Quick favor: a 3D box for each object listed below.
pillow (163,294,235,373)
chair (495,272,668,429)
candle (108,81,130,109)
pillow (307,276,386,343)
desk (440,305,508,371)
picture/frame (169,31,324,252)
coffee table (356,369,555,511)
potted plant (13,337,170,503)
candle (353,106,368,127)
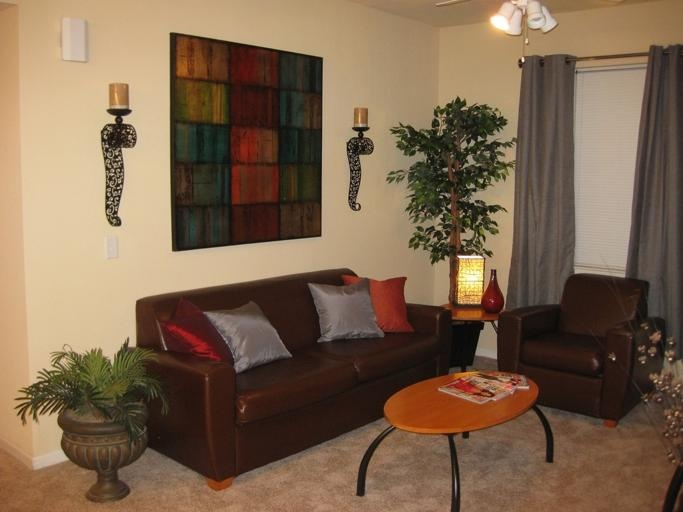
[{"bbox_3d":[-0.923,0.543,3.602,0.374,0.324,0.325,7,12,34],"label":"pillow"},{"bbox_3d":[1.899,0.682,4.500,0.994,0.939,1.014,-10,14,-44],"label":"chair"},{"bbox_3d":[-1.390,-1.013,3.520,0.141,0.175,0.144,-2,11,-17],"label":"candle"},{"bbox_3d":[0.027,0.408,4.534,0.680,0.617,0.405,-3,0,-19],"label":"pillow"},{"bbox_3d":[1.141,0.690,5.087,0.549,0.480,0.589,-7,16,-29],"label":"desk"},{"bbox_3d":[-0.757,-0.899,4.220,0.106,1.659,1.622,6,8,44],"label":"picture/frame"},{"bbox_3d":[0.617,0.896,3.265,0.643,0.508,1.053,0,5,42],"label":"coffee table"},{"bbox_3d":[-1.507,0.871,3.494,0.884,0.956,0.836,-1,3,-11],"label":"potted plant"},{"bbox_3d":[0.169,-1.217,4.852,0.149,0.188,0.158,0,7,7],"label":"candle"}]
